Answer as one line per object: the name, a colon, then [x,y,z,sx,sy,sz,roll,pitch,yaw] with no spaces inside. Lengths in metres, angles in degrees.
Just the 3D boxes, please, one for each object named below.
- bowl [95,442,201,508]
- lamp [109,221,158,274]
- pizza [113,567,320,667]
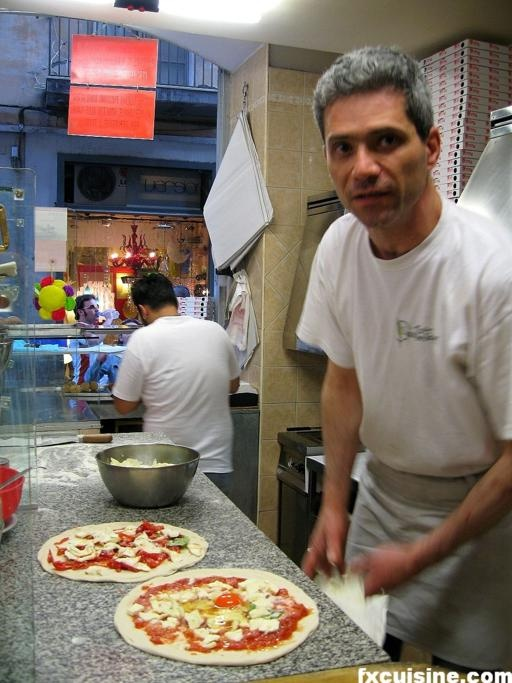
bowl: [-0.309,0.377,1.651,0.281,0.111,0.399,2,1,-8]
lamp: [-1.736,-1.291,8.281,0.576,0.667,0.553,-3,6,-12]
pizza: [-0.065,0.450,0.980,0.339,0.019,0.337,2,1,2]
